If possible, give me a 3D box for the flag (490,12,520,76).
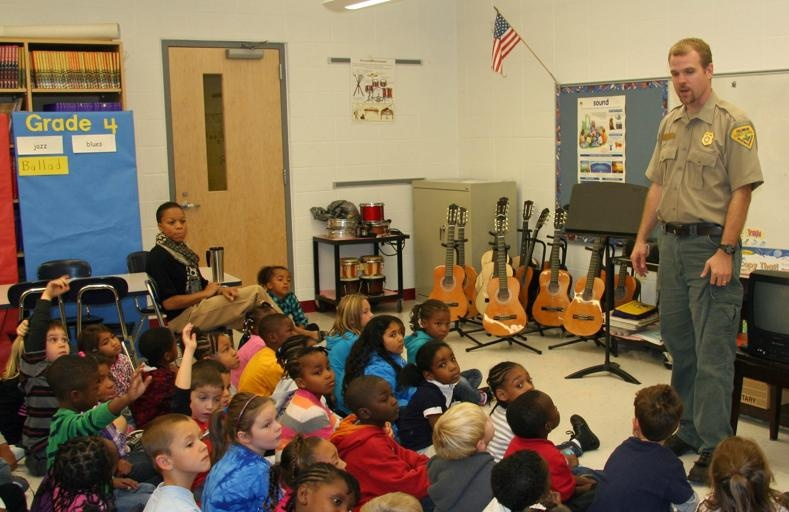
[{"bbox_3d":[1.161,-2.336,6.597,0.324,0.843,0.071,5,-7,14],"label":"flag"}]

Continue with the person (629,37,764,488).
[{"bbox_3d":[1.815,0.111,3.834,0.679,2.373,0.434,9,13,44],"label":"person"}]

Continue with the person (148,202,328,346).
[{"bbox_3d":[-1.350,0.164,5.268,1.480,1.144,0.605,2,9,-3],"label":"person"}]

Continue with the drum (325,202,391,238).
[{"bbox_3d":[-0.428,-0.413,7.164,0.601,0.266,0.415,-1,3,-32],"label":"drum"}]

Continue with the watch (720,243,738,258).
[{"bbox_3d":[1.997,-0.041,3.705,0.105,0.065,0.092,7,10,-32],"label":"watch"}]

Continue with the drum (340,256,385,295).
[{"bbox_3d":[-0.382,0.230,7.146,0.482,0.426,0.470,0,2,4],"label":"drum"}]
